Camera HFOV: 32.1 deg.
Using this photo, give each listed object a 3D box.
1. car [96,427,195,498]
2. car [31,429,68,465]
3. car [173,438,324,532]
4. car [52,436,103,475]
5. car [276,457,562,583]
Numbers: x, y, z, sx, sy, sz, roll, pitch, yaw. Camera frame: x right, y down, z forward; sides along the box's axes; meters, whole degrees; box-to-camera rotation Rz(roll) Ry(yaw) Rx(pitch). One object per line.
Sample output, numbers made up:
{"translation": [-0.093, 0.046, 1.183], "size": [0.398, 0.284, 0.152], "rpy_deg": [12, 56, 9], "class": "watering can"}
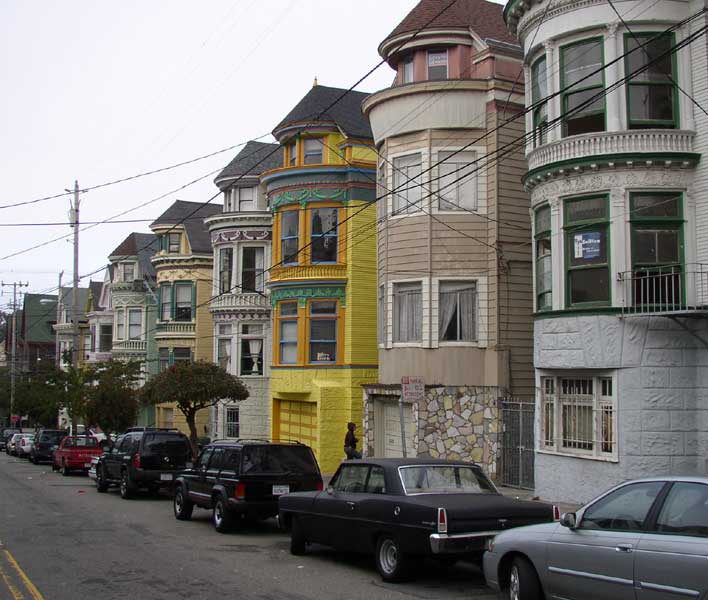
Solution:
{"translation": [-5.546, 4.162, 32.443], "size": [1.429, 1.301, 2.860], "rpy_deg": [4, -5, -27], "class": "car"}
{"translation": [-12.320, 5.807, 49.411], "size": [1.157, 1.086, 2.081], "rpy_deg": [2, -2, -17], "class": "car"}
{"translation": [-2.369, 3.749, 25.533], "size": [1.631, 1.261, 2.798], "rpy_deg": [5, -6, -31], "class": "car"}
{"translation": [-9.543, 5.302, 42.422], "size": [1.273, 1.083, 2.715], "rpy_deg": [2, -3, -20], "class": "car"}
{"translation": [0.752, 3.535, 20.927], "size": [1.995, 1.246, 3.637], "rpy_deg": [4, -5, -34], "class": "car"}
